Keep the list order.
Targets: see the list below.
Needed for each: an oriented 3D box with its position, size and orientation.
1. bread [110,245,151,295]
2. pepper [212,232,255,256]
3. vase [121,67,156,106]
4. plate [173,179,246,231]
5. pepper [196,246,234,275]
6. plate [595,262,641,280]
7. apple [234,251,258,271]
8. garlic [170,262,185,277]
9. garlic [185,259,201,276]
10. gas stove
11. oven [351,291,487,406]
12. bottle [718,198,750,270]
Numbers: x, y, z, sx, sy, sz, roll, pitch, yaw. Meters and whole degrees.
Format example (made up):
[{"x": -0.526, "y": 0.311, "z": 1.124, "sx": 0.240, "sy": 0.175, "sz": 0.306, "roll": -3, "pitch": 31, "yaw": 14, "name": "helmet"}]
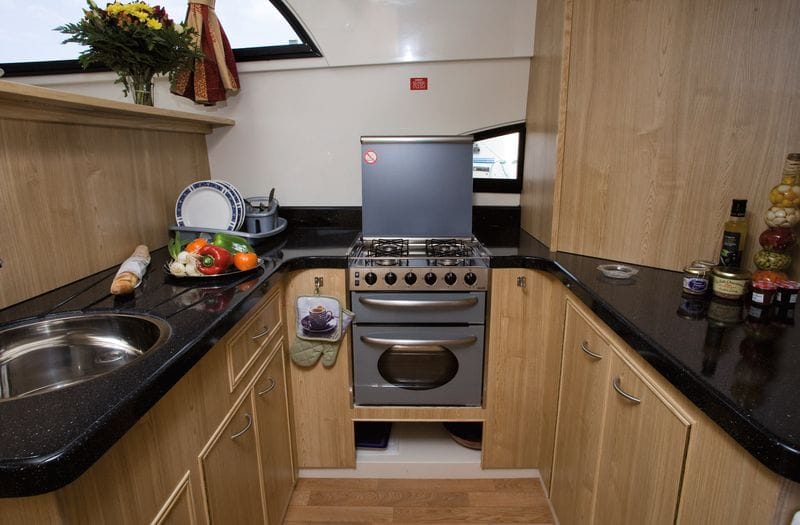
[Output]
[{"x": -1.080, "y": 0.033, "z": 2.212, "sx": 0.098, "sy": 0.070, "sz": 0.333, "roll": -2, "pitch": 25, "yaw": -9, "name": "bread"}, {"x": -0.723, "y": -0.078, "z": 2.431, "sx": 0.191, "sy": 0.100, "sz": 0.076, "roll": 12, "pitch": -38, "yaw": -35, "name": "pepper"}, {"x": -1.175, "y": -0.788, "z": 2.450, "sx": 0.118, "sy": 0.125, "sz": 0.153, "roll": -5, "pitch": -16, "yaw": -16, "name": "vase"}, {"x": -0.971, "y": -0.283, "z": 2.740, "sx": 0.375, "sy": 0.235, "sz": 0.241, "roll": 1, "pitch": 13, "yaw": -3, "name": "plate"}, {"x": -0.762, "y": -0.007, "z": 2.233, "sx": 0.117, "sy": 0.115, "sz": 0.131, "roll": -3, "pitch": 6, "yaw": 7, "name": "pepper"}, {"x": 0.932, "y": 0.035, "z": 2.318, "sx": 0.164, "sy": 0.027, "sz": 0.218, "roll": 10, "pitch": 15, "yaw": 33, "name": "plate"}, {"x": -0.651, "y": -0.005, "z": 2.303, "sx": 0.077, "sy": 0.076, "sz": 0.083, "roll": 14, "pitch": 18, "yaw": 36, "name": "apple"}, {"x": -0.909, "y": 0.028, "z": 2.231, "sx": 0.087, "sy": 0.061, "sz": 0.023, "roll": 8, "pitch": 15, "yaw": 29, "name": "garlic"}, {"x": -0.843, "y": 0.019, "z": 2.228, "sx": 0.048, "sy": 0.048, "sz": 0.065, "roll": -2, "pitch": 20, "yaw": -13, "name": "garlic"}, {"x": 0.100, "y": 0.010, "z": 2.676, "sx": 0.664, "sy": 0.215, "sz": 0.353, "roll": 1, "pitch": 13, "yaw": 1, "name": "gas stove"}, {"x": 0.100, "y": 0.350, "z": 2.847, "sx": 0.699, "sy": 0.687, "sz": 0.501, "roll": 0, "pitch": 12, "yaw": 1, "name": "oven"}, {"x": 1.307, "y": -0.112, "z": 2.110, "sx": 0.083, "sy": 0.260, "sz": 0.146, "roll": 9, "pitch": 15, "yaw": 33, "name": "bottle"}]
